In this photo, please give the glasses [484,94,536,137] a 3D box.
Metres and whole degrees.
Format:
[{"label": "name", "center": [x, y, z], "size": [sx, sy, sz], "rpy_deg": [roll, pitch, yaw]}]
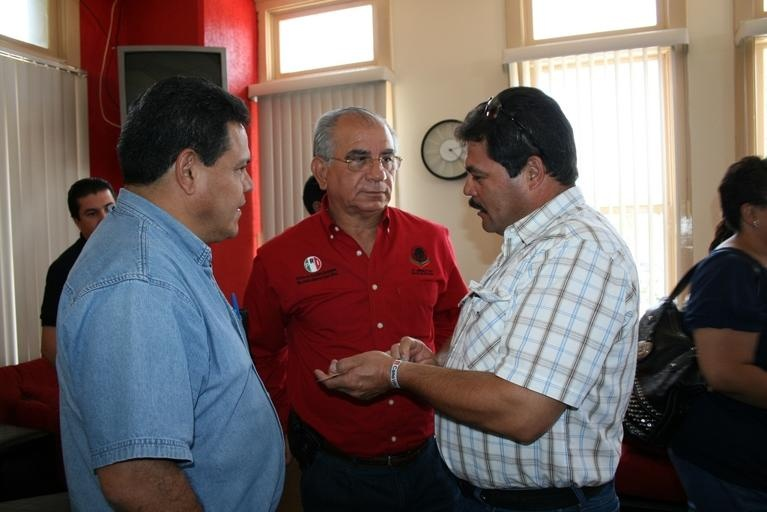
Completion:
[{"label": "glasses", "center": [0.464, -0.514, 2.252], "size": [0.154, 0.051, 0.148], "rpy_deg": [32, 5, -41]}]
